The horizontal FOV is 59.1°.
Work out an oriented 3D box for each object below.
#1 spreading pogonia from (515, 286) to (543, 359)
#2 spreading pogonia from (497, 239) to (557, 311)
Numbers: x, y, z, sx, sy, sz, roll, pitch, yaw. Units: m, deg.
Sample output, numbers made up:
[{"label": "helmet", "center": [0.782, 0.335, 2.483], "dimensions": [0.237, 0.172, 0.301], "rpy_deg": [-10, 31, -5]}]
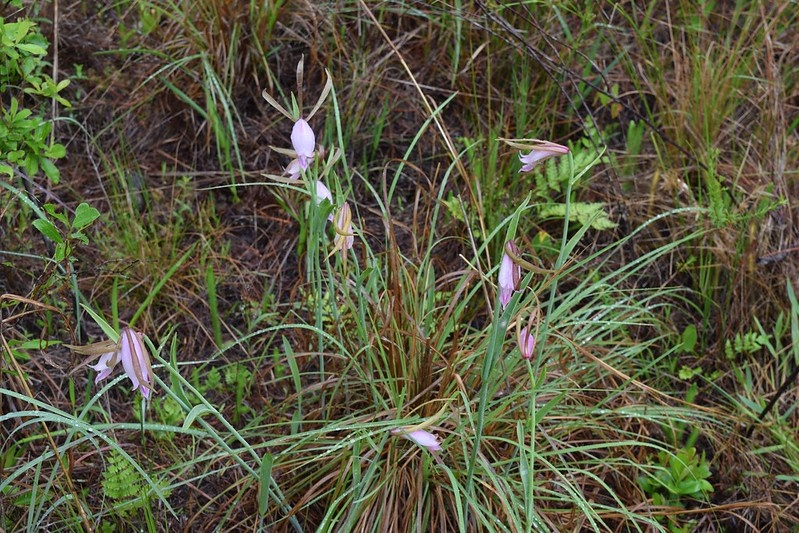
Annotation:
[{"label": "spreading pogonia", "center": [0.638, 0.286, 3.498], "dimensions": [0.117, 0.163, 0.351], "rpy_deg": [-7, 29, 15]}, {"label": "spreading pogonia", "center": [0.489, 0.019, 2.995], "dimensions": [0.192, 0.309, 0.183], "rpy_deg": [-21, 54, -18]}]
